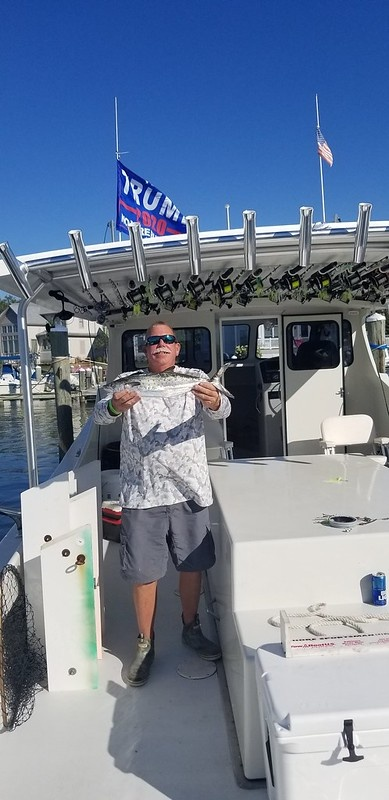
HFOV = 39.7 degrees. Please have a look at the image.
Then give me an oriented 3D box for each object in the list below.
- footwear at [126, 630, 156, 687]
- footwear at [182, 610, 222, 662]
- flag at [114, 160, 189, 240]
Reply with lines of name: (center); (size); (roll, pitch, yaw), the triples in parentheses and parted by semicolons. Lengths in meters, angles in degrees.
footwear: (-0.265, 1.245, 2.617); (0.102, 0.174, 0.200); (-1, 5, 8)
footwear: (0.031, 1.227, 2.858); (0.102, 0.220, 0.280); (-1, 3, -39)
flag: (-0.709, -3.153, 8.610); (1.111, 1.338, 0.093); (9, -19, -15)
